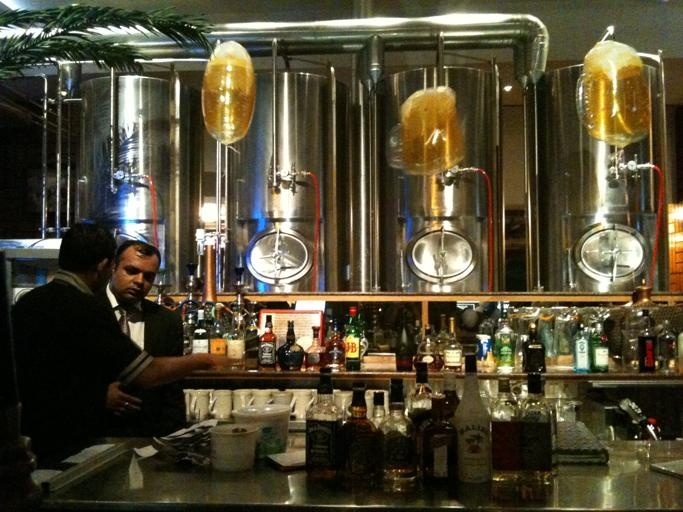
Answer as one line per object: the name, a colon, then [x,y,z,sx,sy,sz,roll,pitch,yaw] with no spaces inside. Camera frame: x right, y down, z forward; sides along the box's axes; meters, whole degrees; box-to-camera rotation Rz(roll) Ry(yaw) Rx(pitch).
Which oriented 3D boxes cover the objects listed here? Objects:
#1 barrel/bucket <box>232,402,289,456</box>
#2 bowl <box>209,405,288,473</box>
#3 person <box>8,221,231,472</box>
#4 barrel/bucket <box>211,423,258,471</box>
barrel/bucket: [-0.352,0.763,3.550,0.225,0.159,0.202,0,-2,-9]
bowl: [-0.396,0.791,3.493,0.319,0.179,0.189,5,-9,-36]
person: [-1.165,0.364,3.861,0.731,1.088,0.445,3,-5,-28]
barrel/bucket: [-0.453,0.812,3.454,0.183,0.133,0.180,1,-3,0]
